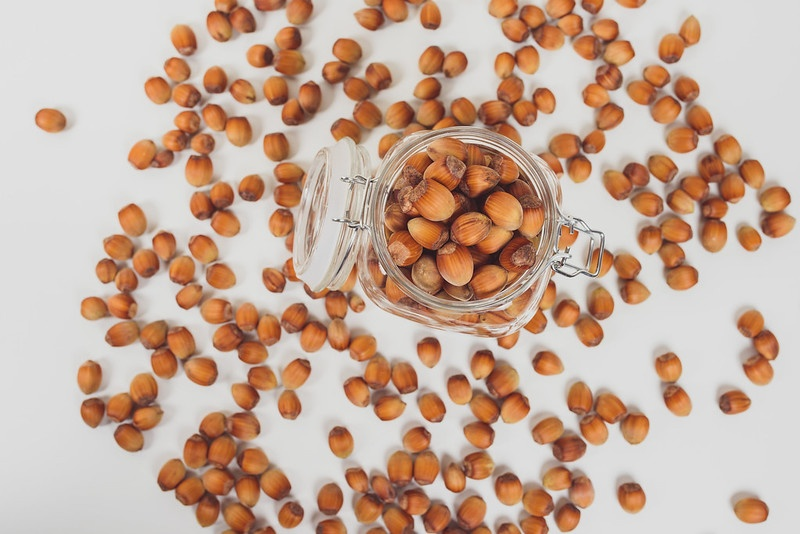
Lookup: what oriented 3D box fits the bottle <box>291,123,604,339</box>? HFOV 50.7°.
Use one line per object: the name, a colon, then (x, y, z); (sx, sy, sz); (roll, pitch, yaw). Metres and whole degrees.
bottle: (0.106, -0.093, 2.296); (0.701, 0.305, 0.541); (13, -89, -1)
